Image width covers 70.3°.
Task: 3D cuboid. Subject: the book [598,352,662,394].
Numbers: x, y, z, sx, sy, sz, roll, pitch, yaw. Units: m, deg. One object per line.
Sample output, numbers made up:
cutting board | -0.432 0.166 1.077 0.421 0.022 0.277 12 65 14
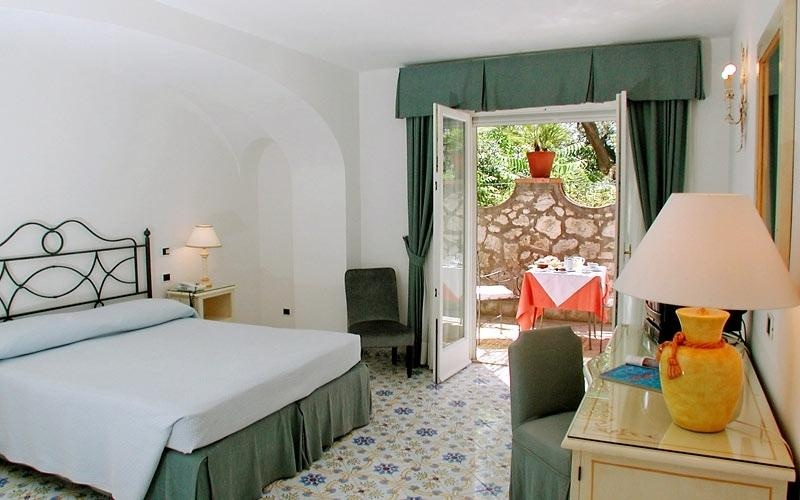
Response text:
book | 1.560 0.768 3.655 0.408 0.090 0.384 -12 11 -42

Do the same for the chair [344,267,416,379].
chair | -0.256 0.776 6.077 0.656 1.046 0.789 -2 8 -20

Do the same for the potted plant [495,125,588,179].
potted plant | 2.068 -1.502 8.615 1.289 0.726 1.320 6 0 42

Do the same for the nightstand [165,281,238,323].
nightstand | -2.095 0.639 6.075 0.372 0.461 0.656 1 2 20

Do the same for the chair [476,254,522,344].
chair | 1.177 0.633 7.287 0.551 0.804 0.535 4 6 29
